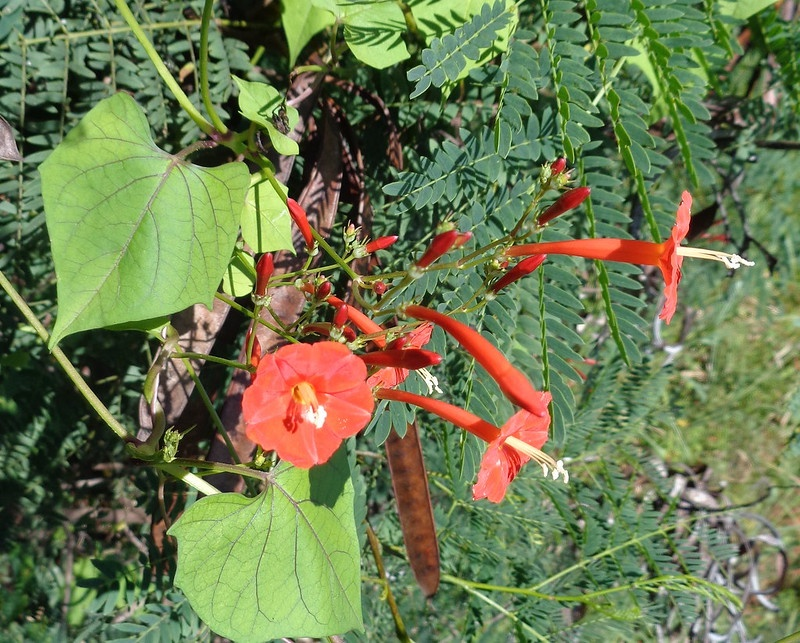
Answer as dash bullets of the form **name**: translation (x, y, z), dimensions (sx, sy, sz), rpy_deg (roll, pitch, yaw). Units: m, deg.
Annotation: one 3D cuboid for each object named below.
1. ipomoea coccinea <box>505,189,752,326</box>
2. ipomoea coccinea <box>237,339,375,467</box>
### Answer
- **ipomoea coccinea**: translation (0.730, -0.223, 2.627), dimensions (0.608, 0.411, 0.292), rpy_deg (9, 59, 7)
- **ipomoea coccinea**: translation (-0.256, 0.237, 2.411), dimensions (0.356, 0.140, 0.341), rpy_deg (-7, 81, 0)
